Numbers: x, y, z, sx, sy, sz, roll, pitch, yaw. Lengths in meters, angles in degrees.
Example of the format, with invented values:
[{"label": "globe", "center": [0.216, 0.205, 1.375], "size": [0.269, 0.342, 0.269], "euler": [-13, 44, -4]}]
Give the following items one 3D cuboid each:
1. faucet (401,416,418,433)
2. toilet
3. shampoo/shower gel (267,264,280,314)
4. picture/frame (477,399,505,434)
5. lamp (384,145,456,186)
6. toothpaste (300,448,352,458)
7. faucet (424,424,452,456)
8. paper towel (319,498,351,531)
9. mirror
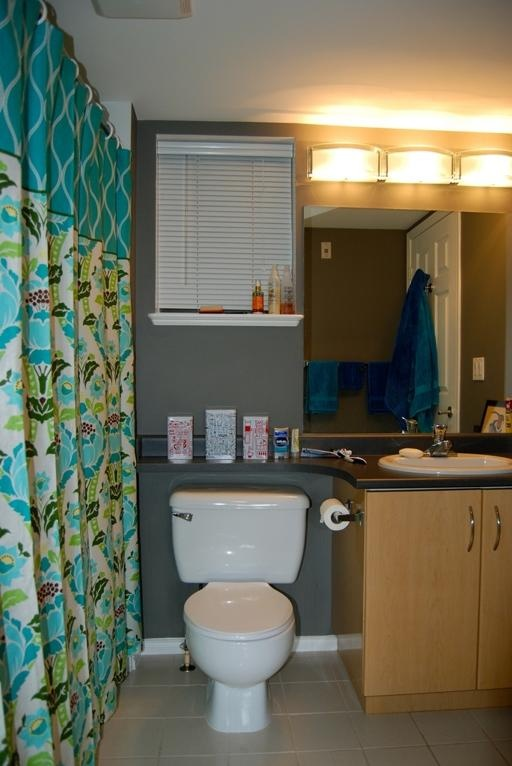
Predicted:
[{"label": "faucet", "center": [0.637, 0.180, 2.527], "size": [0.067, 0.079, 0.044], "euler": [-1, 2, 9]}, {"label": "toilet", "center": [-0.076, 0.828, 2.135], "size": [0.447, 0.877, 0.755], "euler": [1, -4, 0]}, {"label": "shampoo/shower gel", "center": [0.079, -0.372, 2.434], "size": [0.033, 0.187, 0.069], "euler": [3, 8, 36]}, {"label": "picture/frame", "center": [0.986, 0.142, 2.568], "size": [0.093, 0.166, 0.046], "euler": [5, 7, -8]}, {"label": "lamp", "center": [0.667, -0.874, 2.454], "size": [0.289, 0.119, 0.099], "euler": [-3, 7, -9]}, {"label": "toothpaste", "center": [0.272, 0.280, 2.391], "size": [0.206, 0.036, 0.082], "euler": [2, 9, 26]}, {"label": "faucet", "center": [0.695, 0.218, 2.335], "size": [0.120, 0.162, 0.076], "euler": [-2, -5, 20]}, {"label": "paper towel", "center": [0.275, 0.452, 2.118], "size": [0.084, 0.119, 0.117], "euler": [1, -6, -10]}, {"label": "mirror", "center": [0.585, -0.264, 2.513], "size": [0.716, 1.077, 0.052], "euler": [0, 1, -8]}]
